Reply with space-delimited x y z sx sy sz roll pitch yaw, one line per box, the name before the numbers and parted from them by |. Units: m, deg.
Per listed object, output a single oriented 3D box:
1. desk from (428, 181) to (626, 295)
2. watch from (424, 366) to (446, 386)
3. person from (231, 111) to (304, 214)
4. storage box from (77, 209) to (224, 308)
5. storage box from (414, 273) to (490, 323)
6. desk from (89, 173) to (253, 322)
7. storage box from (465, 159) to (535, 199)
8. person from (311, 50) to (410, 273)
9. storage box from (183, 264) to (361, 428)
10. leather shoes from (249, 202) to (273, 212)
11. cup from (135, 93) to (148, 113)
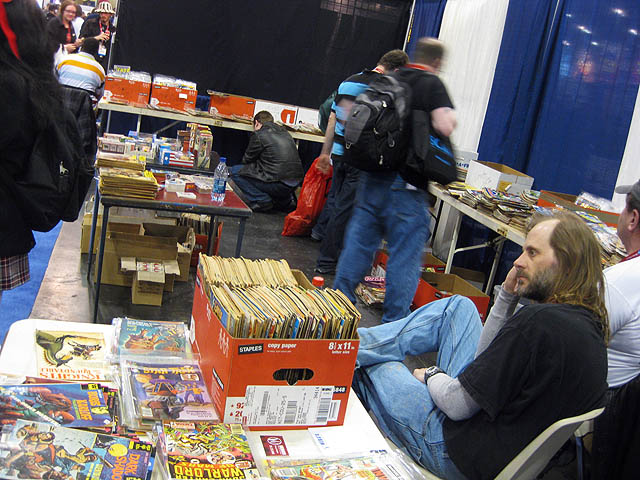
desk | 1.791 -0.101 4.648 1.044 0.938 1.912 13 21 -28
watch | 0.484 0.544 1.929 0.065 0.087 0.093 8 52 11
person | -0.768 -1.090 6.937 0.979 1.240 0.649 7 19 -13
storage box | -1.592 0.282 4.318 1.043 0.410 1.015 5 30 -18
storage box | 1.242 0.453 4.439 0.604 0.372 0.596 4 9 -14
desk | -1.282 -0.099 3.832 1.124 1.061 1.156 6 15 -31
storage box | 1.841 -0.638 4.692 0.439 0.271 0.614 -1 21 -18
person | 0.435 -0.837 5.261 0.726 2.601 0.816 -2 18 -35
storage box | -0.144 0.375 1.434 0.379 0.263 0.537 3 25 -17
leather shoes | -0.887 -0.525 6.919 0.349 0.167 0.124 -9 20 -33
cup | -2.768 -2.163 7.205 0.161 0.263 0.508 4 20 -22
